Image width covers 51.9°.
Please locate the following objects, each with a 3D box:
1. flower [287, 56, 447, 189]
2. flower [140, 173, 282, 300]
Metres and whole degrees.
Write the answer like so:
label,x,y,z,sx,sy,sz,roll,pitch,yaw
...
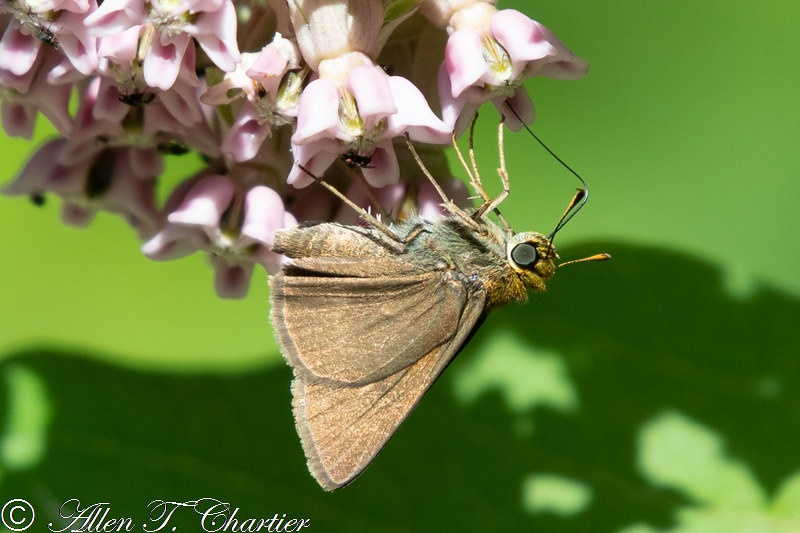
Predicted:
label,x,y,z,sx,sy,sz,roll,pitch,yaw
flower,-0.064,-0.347,1.820,0.424,0.172,0.331,-35,34,-32
flower,-0.430,-0.108,2.090,0.343,0.364,0.146,19,81,-23
